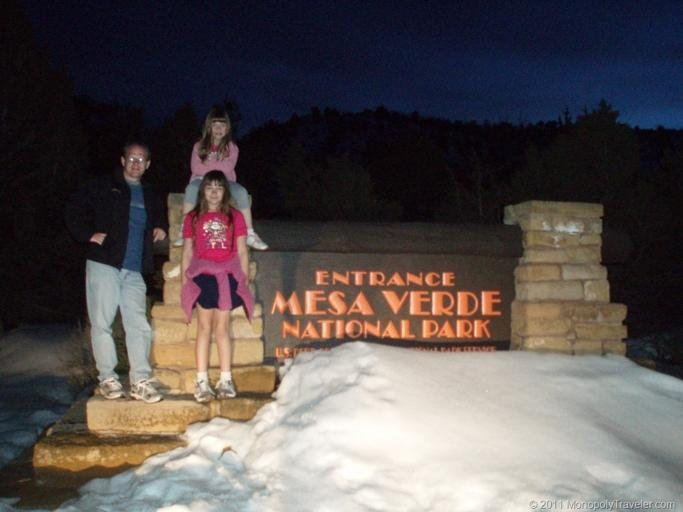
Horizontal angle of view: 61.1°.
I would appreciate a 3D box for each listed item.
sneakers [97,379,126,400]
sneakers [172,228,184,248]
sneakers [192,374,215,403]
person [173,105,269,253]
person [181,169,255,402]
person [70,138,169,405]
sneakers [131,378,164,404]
[{"bbox_3d":[-2.631,1.517,6.665,0.162,0.160,0.354,5,-8,-39],"label":"sneakers"},{"bbox_3d":[-1.907,-0.198,6.899,0.110,0.231,0.317,1,-9,-2],"label":"sneakers"},{"bbox_3d":[-1.559,1.512,6.630,0.223,0.314,0.268,-1,-3,-14],"label":"sneakers"},{"bbox_3d":[-1.444,-0.954,7.031,0.997,1.676,1.120,0,7,-8],"label":"person"},{"bbox_3d":[-1.404,0.314,6.587,0.777,2.542,0.241,-1,-3,-18],"label":"person"},{"bbox_3d":[-2.561,0.177,6.756,0.969,2.999,0.453,-1,-3,-3],"label":"person"},{"bbox_3d":[-2.220,1.534,6.603,0.362,0.277,0.110,-2,-3,12],"label":"sneakers"}]
